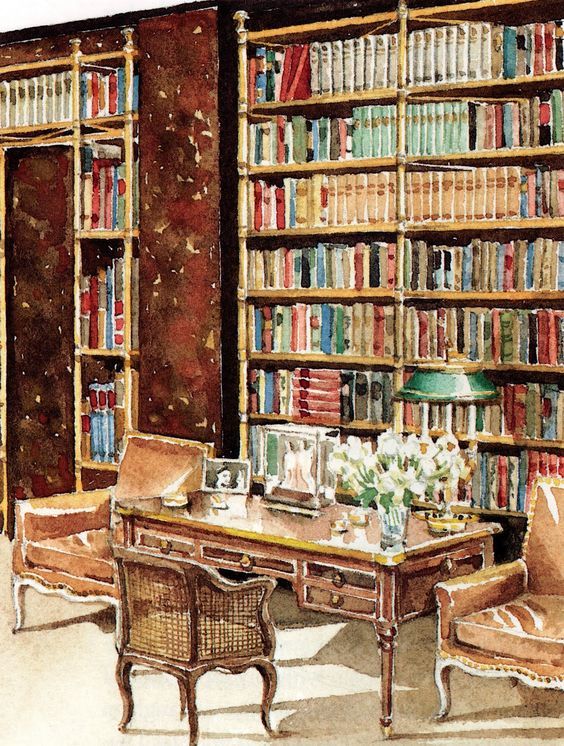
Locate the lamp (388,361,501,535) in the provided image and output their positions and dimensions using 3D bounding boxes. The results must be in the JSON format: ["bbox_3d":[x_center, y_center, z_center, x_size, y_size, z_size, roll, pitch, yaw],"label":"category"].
[{"bbox_3d":[0.740,0.270,4.192,0.546,0.789,0.577,-1,3,15],"label":"lamp"}]

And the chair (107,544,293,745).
[{"bbox_3d":[-0.327,1.032,3.466,0.606,0.856,0.435,0,6,-1],"label":"chair"}]

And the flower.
[{"bbox_3d":[0.515,0.378,3.812,0.452,0.344,0.459,0,-1,40],"label":"flower"}]

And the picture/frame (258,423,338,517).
[{"bbox_3d":[0.076,0.451,4.278,0.348,0.360,0.124,0,0,39],"label":"picture/frame"}]

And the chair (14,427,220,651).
[{"bbox_3d":[-0.960,0.794,4.894,0.854,1.302,0.953,-1,-6,39],"label":"chair"}]

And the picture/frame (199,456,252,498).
[{"bbox_3d":[-0.276,0.499,4.560,0.258,0.197,0.145,1,-3,28],"label":"picture/frame"}]

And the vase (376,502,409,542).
[{"bbox_3d":[0.435,0.593,3.730,0.133,0.188,0.126,-1,-8,7],"label":"vase"}]
